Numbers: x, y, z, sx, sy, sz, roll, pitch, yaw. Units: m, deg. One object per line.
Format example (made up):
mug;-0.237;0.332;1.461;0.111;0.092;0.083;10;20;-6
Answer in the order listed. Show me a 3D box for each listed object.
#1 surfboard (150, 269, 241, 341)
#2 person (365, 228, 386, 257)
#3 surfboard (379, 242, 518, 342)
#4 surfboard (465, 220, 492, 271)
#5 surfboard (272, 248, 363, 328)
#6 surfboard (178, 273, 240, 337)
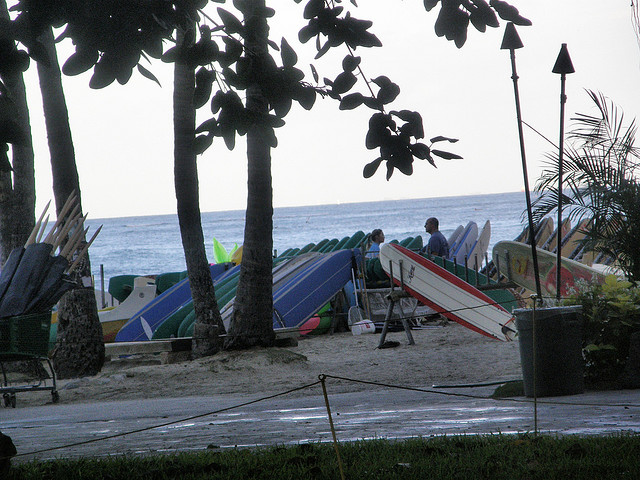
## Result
surfboard;-1.947;1.091;21.035;1.841;0.251;0.323;-40;-9;-50
person;1.122;0.049;25.348;0.383;0.818;0.506;-1;7;-9
surfboard;1.993;0.823;20.563;2.167;1.455;0.843;-7;-3;39
surfboard;3.577;0.174;29.495;0.313;1.623;0.173;15;8;2
surfboard;-0.105;0.816;22.629;0.854;0.516;1.867;-10;32;42
surfboard;-1.870;1.150;22.258;0.760;0.756;3.391;-5;-2;0
